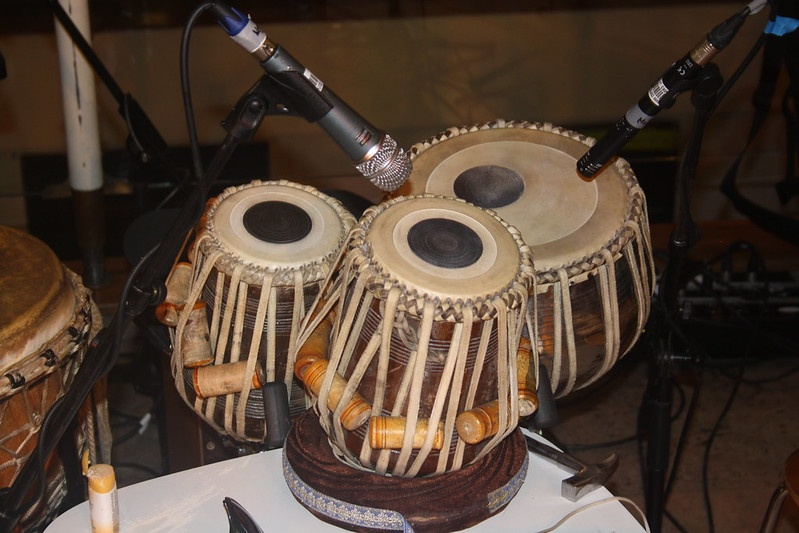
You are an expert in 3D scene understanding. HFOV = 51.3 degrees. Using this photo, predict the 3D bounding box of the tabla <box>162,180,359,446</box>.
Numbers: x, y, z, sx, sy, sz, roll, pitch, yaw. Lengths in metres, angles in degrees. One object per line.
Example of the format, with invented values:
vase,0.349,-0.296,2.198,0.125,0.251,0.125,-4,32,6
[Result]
tabla,-0.437,0.131,2.908,0.544,0.726,0.538,29,42,21

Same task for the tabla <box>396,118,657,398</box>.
tabla,0.511,-0.009,3.086,0.867,0.715,0.855,-30,51,-27

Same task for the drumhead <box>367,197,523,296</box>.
drumhead,0.148,-0.051,2.496,0.477,0.127,0.314,0,77,6
